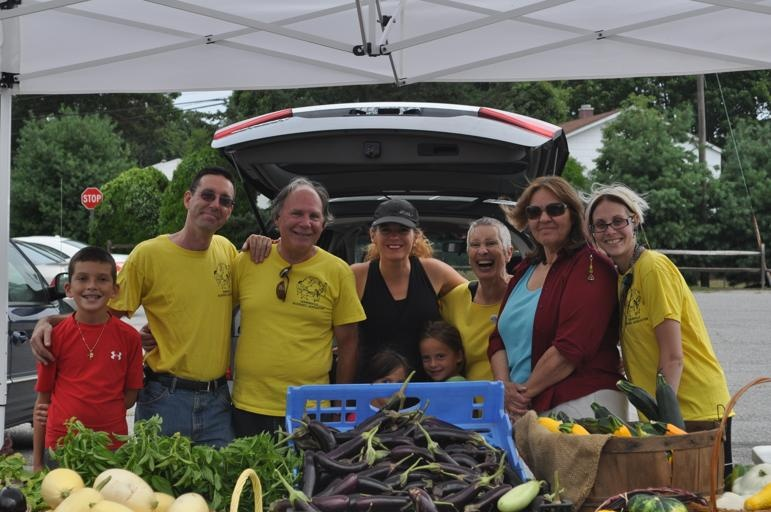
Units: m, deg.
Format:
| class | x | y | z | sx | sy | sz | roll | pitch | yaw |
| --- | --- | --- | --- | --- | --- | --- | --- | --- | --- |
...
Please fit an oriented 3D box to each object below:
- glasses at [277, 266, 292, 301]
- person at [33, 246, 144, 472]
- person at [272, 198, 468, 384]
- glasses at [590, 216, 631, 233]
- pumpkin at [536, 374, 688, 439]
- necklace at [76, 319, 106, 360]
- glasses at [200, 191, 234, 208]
| class | x | y | z | sx | sy | sz | roll | pitch | yaw |
| --- | --- | --- | --- | --- | --- | --- | --- | --- | --- |
| glasses | -0.772 | 0.211 | 6.626 | 0.139 | 0.211 | 0.063 | -10 | 3 | -31 |
| person | -2.267 | 0.767 | 6.699 | 0.789 | 1.625 | 0.348 | -1 | -5 | 11 |
| person | -0.139 | 0.311 | 6.880 | 1.427 | 1.736 | 0.575 | 0 | -11 | -3 |
| glasses | 1.633 | -0.218 | 6.393 | 0.277 | 0.107 | 0.074 | -2 | -6 | 17 |
| pumpkin | 1.545 | 1.024 | 5.673 | 0.416 | 0.379 | 0.805 | -27 | -19 | 35 |
| necklace | -2.222 | 0.642 | 6.635 | 0.278 | 0.353 | 0.031 | 3 | -13 | -15 |
| glasses | -1.292 | -0.402 | 6.671 | 0.153 | 0.046 | 0.153 | 14 | -25 | -24 |
